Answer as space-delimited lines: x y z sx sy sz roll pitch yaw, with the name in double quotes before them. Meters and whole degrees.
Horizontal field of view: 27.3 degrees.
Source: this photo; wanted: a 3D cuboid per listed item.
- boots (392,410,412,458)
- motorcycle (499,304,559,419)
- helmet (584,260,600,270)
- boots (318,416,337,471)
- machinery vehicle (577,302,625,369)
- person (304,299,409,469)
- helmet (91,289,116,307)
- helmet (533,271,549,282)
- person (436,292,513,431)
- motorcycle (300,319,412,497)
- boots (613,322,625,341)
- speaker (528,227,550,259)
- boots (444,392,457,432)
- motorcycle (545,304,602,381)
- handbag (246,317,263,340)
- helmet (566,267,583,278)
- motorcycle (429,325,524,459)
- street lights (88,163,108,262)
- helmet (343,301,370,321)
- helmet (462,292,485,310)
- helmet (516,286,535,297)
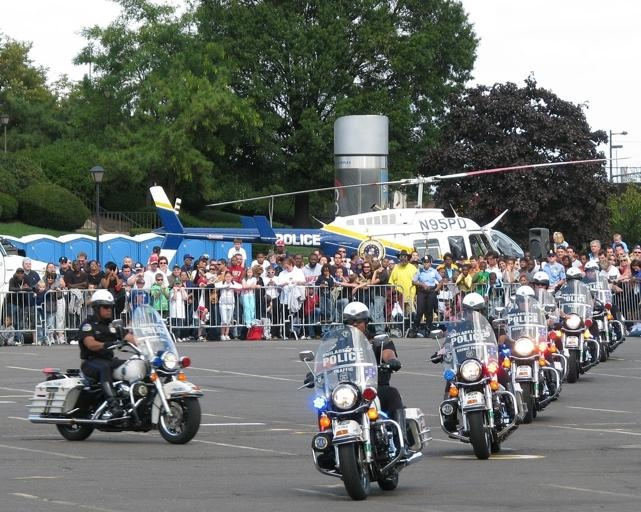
"boots" 0.959 2.077 15.514 0.133 0.464 0.346 1 -5 2
"motorcycle" 3.117 1.485 19.355 0.945 1.737 0.956 1 4 23
"helmet" 5.273 0.204 25.617 0.190 0.223 0.262 -6 -2 1
"boots" 0.105 2.138 15.153 0.226 0.548 0.305 1 -19 4
"machinery vehicle" 5.424 1.445 25.766 0.871 1.429 0.829 2 4 26
"person" 0.727 1.368 15.792 0.934 1.457 2.657 0 -1 4
"helmet" -3.119 0.610 18.963 0.271 0.228 0.217 -17 7 23
"helmet" 3.501 0.336 20.990 0.213 0.170 0.332 -1 -4 5
"person" 1.988 1.291 17.635 0.825 1.539 0.930 0 3 19
"motorcycle" 0.380 1.711 15.449 1.150 1.974 1.755 0 2 10
"boots" 5.901 1.493 26.086 0.261 0.364 0.114 -2 5 38
"speaker" 6.146 -0.328 37.160 0.541 0.883 0.574 7 -12 -31
"boots" 1.705 2.044 17.177 0.224 0.471 0.297 3 -1 -2
"motorcycle" 4.592 1.288 24.099 1.128 1.483 2.516 1 10 11
"handbag" -1.562 1.776 31.722 0.361 0.480 0.155 7 -15 -3
"helmet" 4.543 0.357 23.587 0.258 0.219 0.215 -8 14 -5
"motorcycle" 2.017 1.761 17.240 1.102 1.726 1.509 0 2 17
"street lights" -7.105 -1.372 42.153 0.665 3.035 0.650 -4 9 -34
"helmet" 0.422 0.669 15.694 0.305 0.233 0.336 -1 -4 -1
"helmet" 2.013 0.615 17.345 0.287 0.235 0.381 -1 -4 5
"helmet" 2.974 0.526 19.219 0.229 0.175 0.190 -1 -3 22
